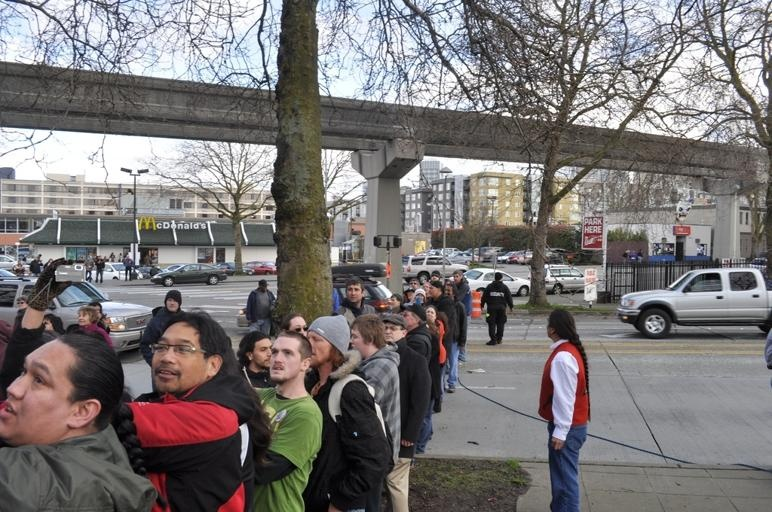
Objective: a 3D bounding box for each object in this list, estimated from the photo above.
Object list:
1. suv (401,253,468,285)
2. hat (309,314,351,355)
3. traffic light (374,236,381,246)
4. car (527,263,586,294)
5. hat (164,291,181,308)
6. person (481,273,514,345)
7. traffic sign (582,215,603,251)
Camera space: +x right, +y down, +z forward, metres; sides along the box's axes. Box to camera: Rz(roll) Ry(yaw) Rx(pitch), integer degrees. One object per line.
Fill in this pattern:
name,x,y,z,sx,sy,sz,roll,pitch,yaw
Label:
suv,3.072,0.782,44.275,3.733,1.615,1.704,-4,3,-7
hat,-0.628,0.836,7.652,0.405,0.395,0.380,12,-6,-13
traffic light,-0.334,-0.636,27.962,0.293,0.401,0.739,-1,1,-4
car,8.481,1.155,34.252,2.186,1.096,1.326,-6,7,-13
hat,-3.678,0.748,11.882,0.254,0.370,0.358,2,-9,-9
person,3.177,1.453,19.706,0.829,2.001,1.563,0,1,8
traffic sign,8.791,-0.992,29.182,0.831,1.398,0.796,0,1,18
